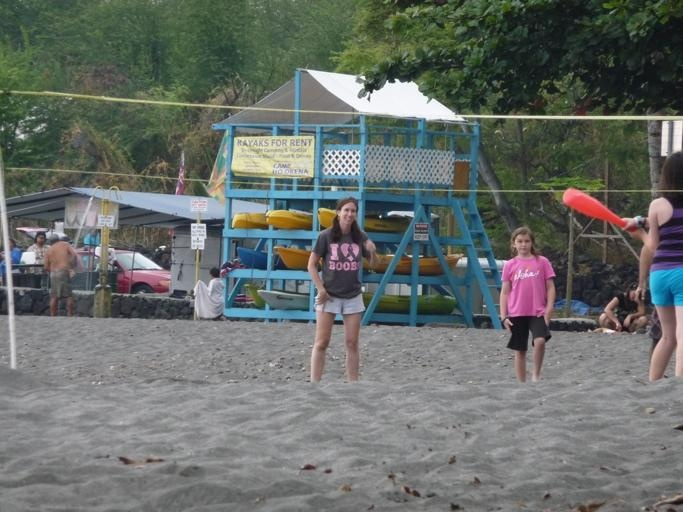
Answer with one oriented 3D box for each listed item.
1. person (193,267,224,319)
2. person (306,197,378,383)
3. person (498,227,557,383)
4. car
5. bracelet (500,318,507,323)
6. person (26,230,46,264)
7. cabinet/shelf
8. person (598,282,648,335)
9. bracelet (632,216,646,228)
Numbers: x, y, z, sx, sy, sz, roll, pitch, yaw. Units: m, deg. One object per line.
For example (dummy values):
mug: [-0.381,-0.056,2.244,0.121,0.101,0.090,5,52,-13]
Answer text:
person: [-3.449,1.041,35.921,0.744,1.373,1.298,-1,11,-6]
person: [-0.035,0.696,26.452,1.179,3.556,0.718,-1,12,-2]
person: [3.537,0.961,26.842,0.905,2.978,1.038,-10,15,-40]
car: [-7.486,0.348,41.261,4.534,1.413,2.025,0,1,0]
bracelet: [3.116,1.237,26.834,0.069,0.090,0.041,-1,31,10]
person: [-8.638,-0.254,39.337,0.431,1.051,2.653,-3,12,-14]
cabinet/shelf: [0.182,0.016,35.413,6.003,3.557,3.127,-1,1,2]
person: [7.001,1.333,34.704,1.138,1.366,0.820,9,15,9]
bracelet: [5.491,-0.643,25.838,0.200,0.107,0.253,2,-2,-10]
